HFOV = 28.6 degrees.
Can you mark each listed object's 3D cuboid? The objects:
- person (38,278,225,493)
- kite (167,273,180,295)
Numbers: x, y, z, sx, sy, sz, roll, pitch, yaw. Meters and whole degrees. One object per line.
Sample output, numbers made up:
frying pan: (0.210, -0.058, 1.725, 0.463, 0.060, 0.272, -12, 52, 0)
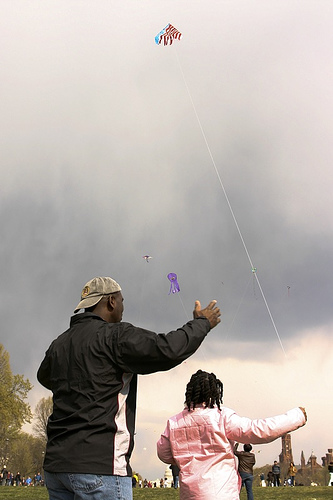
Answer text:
person: (-0.277, 0.831, 3.839, 0.998, 1.112, 0.392, -7, -24, 4)
kite: (0.261, 1.153, 23.853, 0.473, 0.664, 0.278, -12, -21, 34)
